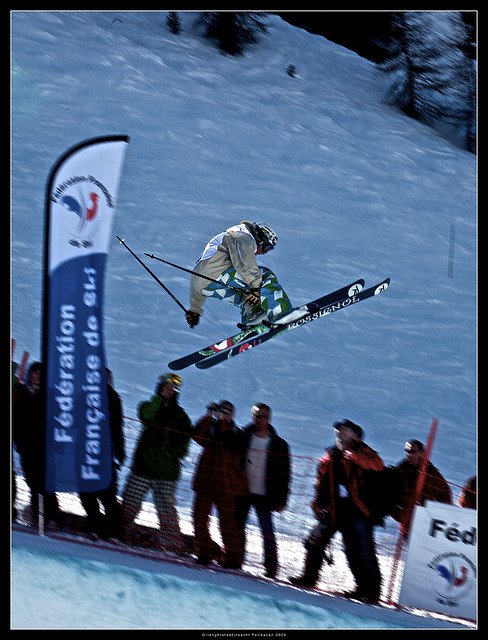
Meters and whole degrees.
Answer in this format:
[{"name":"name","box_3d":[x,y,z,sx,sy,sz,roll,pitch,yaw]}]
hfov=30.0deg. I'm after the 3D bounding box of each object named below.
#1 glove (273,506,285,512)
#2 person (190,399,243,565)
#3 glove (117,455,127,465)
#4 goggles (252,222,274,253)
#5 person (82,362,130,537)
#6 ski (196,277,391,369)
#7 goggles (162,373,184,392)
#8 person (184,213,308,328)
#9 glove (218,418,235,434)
[{"name":"glove","box_3d":[0.303,1.676,8.051,0.084,0.038,0.006,5,-4,1]},{"name":"person","box_3d":[-0.266,1.493,8.130,0.501,1.088,0.246,8,-4,6]},{"name":"glove","box_3d":[-1.085,1.242,8.075,0.079,0.069,0.010,7,-3,-6]},{"name":"goggles","box_3d":[0.162,-0.751,8.292,0.212,0.207,0.152,7,-3,3]},{"name":"person","box_3d":[-1.168,1.178,8.154,0.417,1.273,0.236,9,-4,-6]},{"name":"ski","box_3d":[0.139,-0.062,7.723,1.930,0.176,0.172,-19,-46,1]},{"name":"goggles","box_3d":[-0.630,0.579,8.255,0.157,0.133,0.291,8,-4,-21]},{"name":"person","box_3d":[-0.062,-0.406,8.451,1.367,0.910,0.817,-11,-15,42]},{"name":"glove","box_3d":[-0.160,0.951,8.174,0.149,0.104,0.118,6,-3,-2]}]
